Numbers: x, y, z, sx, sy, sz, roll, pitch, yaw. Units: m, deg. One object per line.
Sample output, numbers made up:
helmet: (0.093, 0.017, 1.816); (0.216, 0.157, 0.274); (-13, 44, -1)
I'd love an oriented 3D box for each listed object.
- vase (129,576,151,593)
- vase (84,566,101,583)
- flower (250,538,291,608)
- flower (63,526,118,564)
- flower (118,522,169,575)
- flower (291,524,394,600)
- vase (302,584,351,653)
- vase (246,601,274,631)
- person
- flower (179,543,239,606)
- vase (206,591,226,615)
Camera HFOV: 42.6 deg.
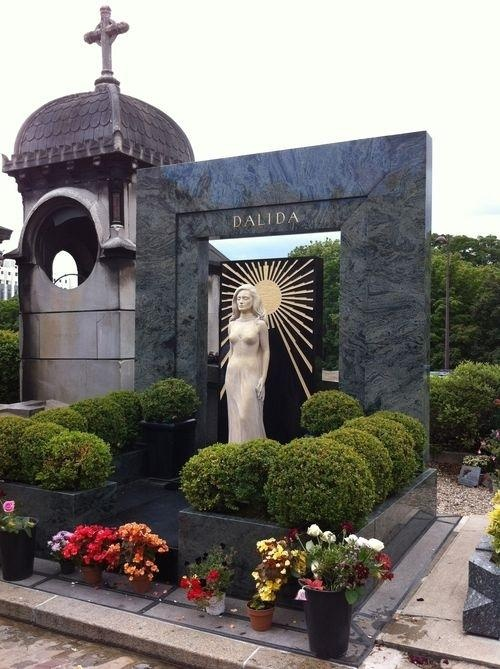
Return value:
vase: (-0.926, 2.092, 5.362); (0.162, 0.105, 0.151); (0, -14, -4)
vase: (-1.352, 2.076, 5.506); (0.170, 0.110, 0.158); (0, -10, -7)
flower: (0.156, 1.758, 4.716); (0.300, 0.495, 0.329); (0, 6, 0)
flower: (-1.353, 1.799, 5.444); (0.385, 0.240, 0.389); (-4, -11, 41)
flower: (-0.898, 1.826, 5.371); (0.391, 0.446, 0.283); (-2, 7, -18)
flower: (0.659, 1.586, 4.532); (0.672, 0.516, 0.655); (1, 6, 4)
vase: (0.432, 1.960, 4.419); (0.422, 0.421, 0.428); (0, -11, 2)
vase: (0.080, 2.063, 4.704); (0.186, 0.190, 0.193); (1, 6, 3)
person: (-0.043, 0.386, 7.876); (0.554, 1.996, 0.362); (2, 7, 12)
flower: (-0.297, 1.942, 4.994); (0.420, 0.404, 0.378); (-2, -27, -35)
vase: (-0.259, 2.057, 4.920); (0.175, 0.165, 0.182); (4, -12, -14)
